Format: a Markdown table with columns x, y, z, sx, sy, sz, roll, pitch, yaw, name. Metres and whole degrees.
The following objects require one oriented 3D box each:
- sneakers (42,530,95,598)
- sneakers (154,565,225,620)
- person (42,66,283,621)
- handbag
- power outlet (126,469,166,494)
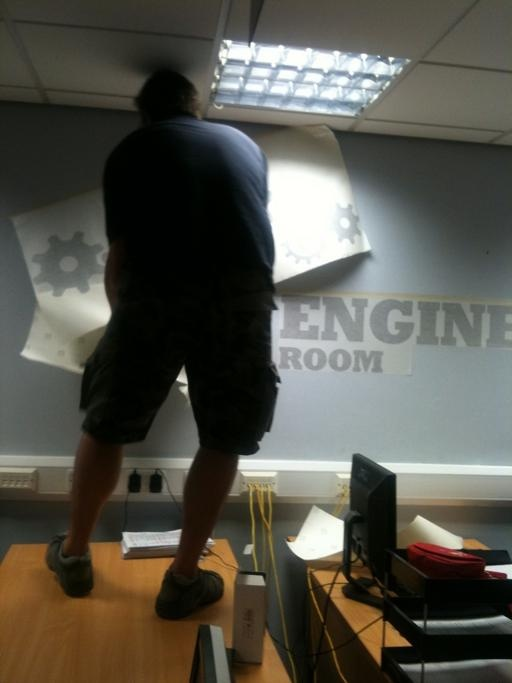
| x | y | z | sx | sy | sz | roll | pitch | yaw | name |
| --- | --- | --- | --- | --- | --- | --- | --- | --- | --- |
| -0.479 | 0.544 | 1.455 | 0.102 | 0.097 | 0.238 | 3 | 8 | -28 | sneakers |
| -0.149 | 0.576 | 1.375 | 0.077 | 0.105 | 0.182 | 7 | 7 | 32 | sneakers |
| -0.204 | 0.017 | 1.396 | 0.498 | 0.872 | 0.264 | 3 | -2 | -15 | person |
| 0.421 | 0.463 | 1.206 | 0.138 | 0.050 | 0.110 | -1 | -4 | 5 | handbag |
| -0.399 | 0.501 | 2.034 | 0.091 | 0.068 | 0.012 | 1 | -3 | -1 | power outlet |
